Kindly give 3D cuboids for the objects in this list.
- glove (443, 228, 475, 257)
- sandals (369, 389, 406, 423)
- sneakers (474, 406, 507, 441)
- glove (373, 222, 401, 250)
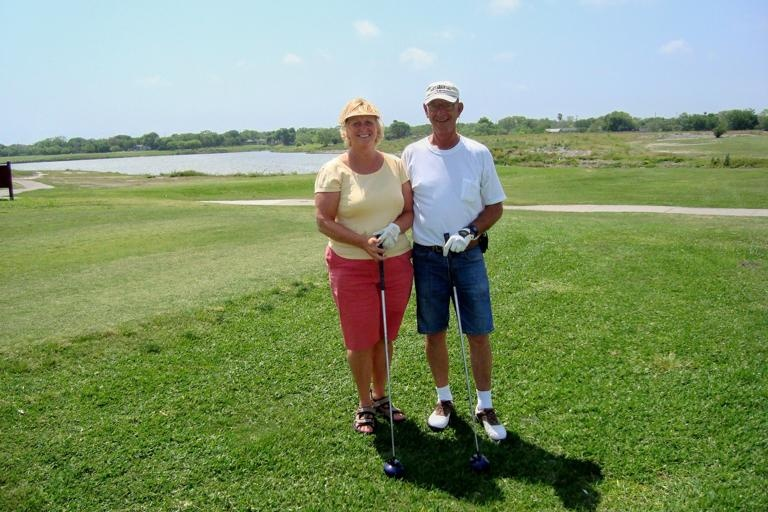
[{"bbox_3d":[0.780,-0.150,5.266,0.251,0.119,0.324,20,-41,-38],"label":"glove"},{"bbox_3d":[0.008,1.693,5.761,0.202,0.197,0.507,1,0,-34],"label":"sandals"},{"bbox_3d":[1.138,1.766,5.437,0.191,0.264,0.374,-10,13,-27],"label":"sneakers"},{"bbox_3d":[0.034,-0.184,5.272,0.277,0.227,0.131,-44,-11,-16],"label":"glove"}]
